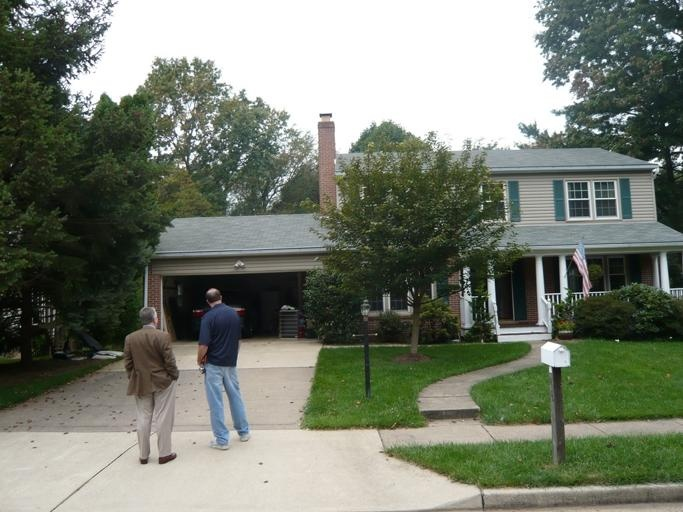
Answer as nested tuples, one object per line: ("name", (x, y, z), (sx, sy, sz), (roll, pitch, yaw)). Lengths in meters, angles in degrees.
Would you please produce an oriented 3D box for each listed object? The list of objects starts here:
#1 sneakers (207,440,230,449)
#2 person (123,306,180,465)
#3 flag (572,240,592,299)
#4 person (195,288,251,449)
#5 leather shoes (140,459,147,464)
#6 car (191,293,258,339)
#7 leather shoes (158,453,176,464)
("sneakers", (-2.070, 3.182, 10.875), (0.359, 0.152, 0.140), (6, -1, 24))
("person", (-3.122, 2.100, 10.556), (0.833, 2.506, 0.678), (1, -5, -19))
("flag", (7.942, 0.457, 21.224), (0.485, 1.881, 2.687), (-3, -6, 21))
("person", (-2.025, 1.925, 11.030), (0.843, 2.686, 0.526), (1, -5, -25))
("leather shoes", (-3.162, 3.302, 10.314), (0.114, 0.081, 0.095), (0, -5, -16))
("car", (-4.089, 2.316, 23.810), (1.369, 1.074, 3.018), (-2, 0, 3))
("leather shoes", (-2.792, 3.253, 10.333), (0.089, 0.105, 0.267), (1, 5, 35))
